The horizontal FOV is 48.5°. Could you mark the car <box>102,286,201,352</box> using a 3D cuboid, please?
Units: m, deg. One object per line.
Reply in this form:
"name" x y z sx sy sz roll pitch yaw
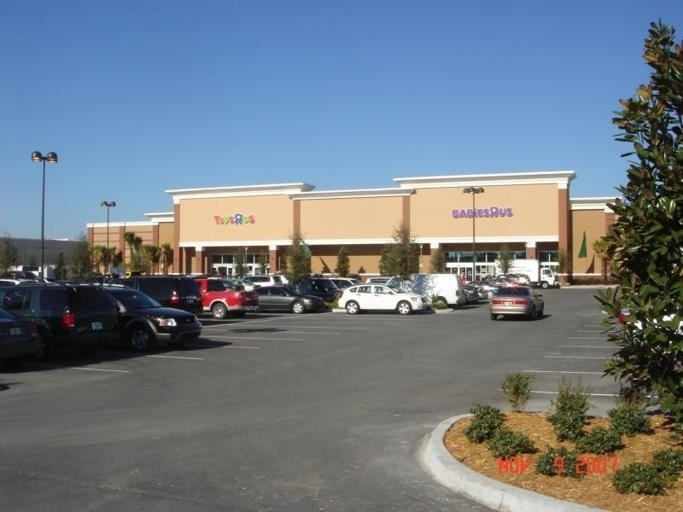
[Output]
"car" -5.573 1.819 21.662 2.910 1.121 1.424 -2 -2 27
